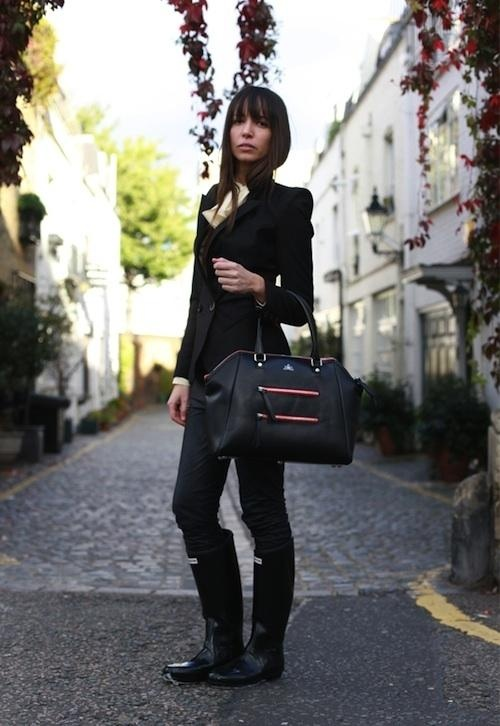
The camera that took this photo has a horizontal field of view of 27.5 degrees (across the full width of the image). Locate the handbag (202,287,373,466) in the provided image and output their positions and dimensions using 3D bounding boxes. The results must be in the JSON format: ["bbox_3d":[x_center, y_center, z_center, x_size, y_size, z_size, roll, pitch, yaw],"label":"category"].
[{"bbox_3d":[0.117,0.143,3.272,0.519,0.355,0.205,0,-3,-4],"label":"handbag"}]

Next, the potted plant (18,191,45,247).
[{"bbox_3d":[-2.318,-1.548,10.923,0.344,0.466,0.317,-3,14,-16],"label":"potted plant"}]

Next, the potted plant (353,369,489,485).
[{"bbox_3d":[1.617,0.813,10.085,1.331,0.993,1.309,4,6,10],"label":"potted plant"}]
